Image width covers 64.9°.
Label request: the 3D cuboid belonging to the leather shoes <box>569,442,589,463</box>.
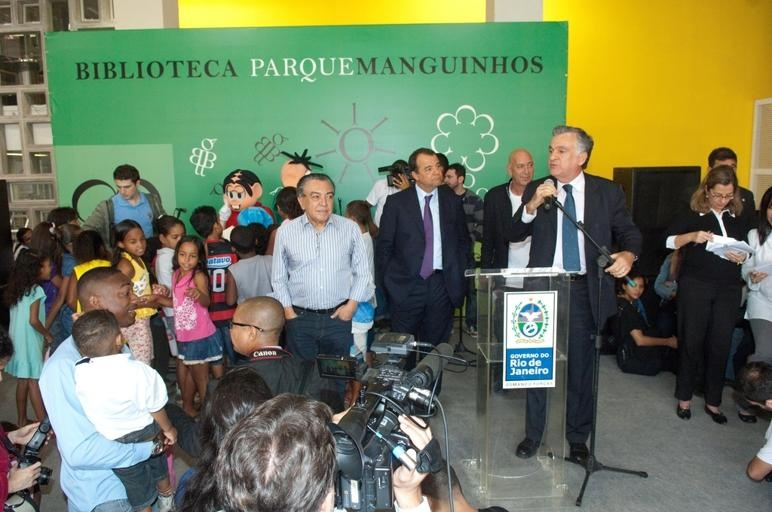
[{"bbox_3d":[1.593,1.645,5.050,0.101,0.063,0.188,1,36,11],"label":"leather shoes"}]

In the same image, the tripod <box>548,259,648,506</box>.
[{"bbox_3d":[1.741,1.227,4.827,0.519,1.319,0.807,6,11,42],"label":"tripod"}]

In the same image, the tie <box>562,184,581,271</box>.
[{"bbox_3d":[1.490,-0.220,4.913,0.140,0.693,0.127,-1,8,1],"label":"tie"}]

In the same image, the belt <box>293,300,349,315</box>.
[{"bbox_3d":[-0.564,0.452,5.177,0.455,0.099,0.074,-2,8,-3],"label":"belt"}]

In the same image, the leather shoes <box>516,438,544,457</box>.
[{"bbox_3d":[1.069,1.472,4.613,0.098,0.084,0.201,1,2,40],"label":"leather shoes"}]

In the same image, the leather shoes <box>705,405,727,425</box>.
[{"bbox_3d":[3.094,1.500,5.703,0.082,0.097,0.232,-13,5,1],"label":"leather shoes"}]

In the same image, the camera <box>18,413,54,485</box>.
[{"bbox_3d":[-2.276,1.235,4.024,0.212,0.389,0.097,10,11,-19],"label":"camera"}]
